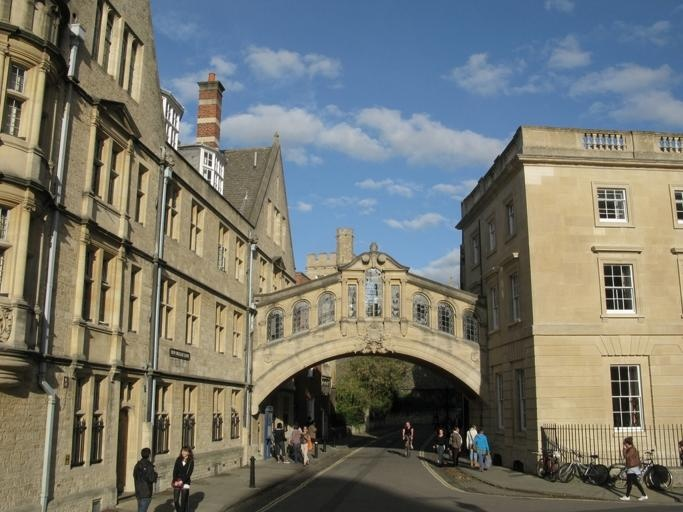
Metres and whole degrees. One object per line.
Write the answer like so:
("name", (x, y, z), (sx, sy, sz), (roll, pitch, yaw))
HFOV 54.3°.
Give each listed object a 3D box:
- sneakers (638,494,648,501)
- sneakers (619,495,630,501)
("sneakers", (10.456, 8.372, 22.963), (0.410, 0.189, 0.154), (-4, -21, 3))
("sneakers", (9.756, 8.363, 22.922), (0.380, 0.174, 0.161), (-3, -22, 11))
